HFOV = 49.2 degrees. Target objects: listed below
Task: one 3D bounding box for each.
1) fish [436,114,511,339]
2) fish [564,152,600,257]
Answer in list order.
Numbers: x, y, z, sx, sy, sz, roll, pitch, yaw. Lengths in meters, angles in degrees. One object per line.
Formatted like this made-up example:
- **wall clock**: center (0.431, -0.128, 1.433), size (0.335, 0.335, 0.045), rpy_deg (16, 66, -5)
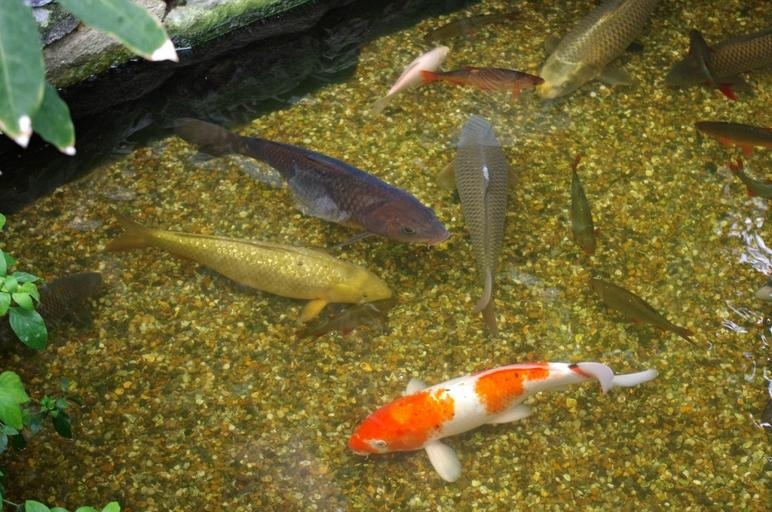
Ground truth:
- **fish**: center (0.700, -0.251, 6.800), size (0.485, 0.679, 1.637), rpy_deg (-1, 74, 2)
- **fish**: center (1.628, -0.399, 6.731), size (0.193, 0.340, 0.866), rpy_deg (-4, 85, 5)
